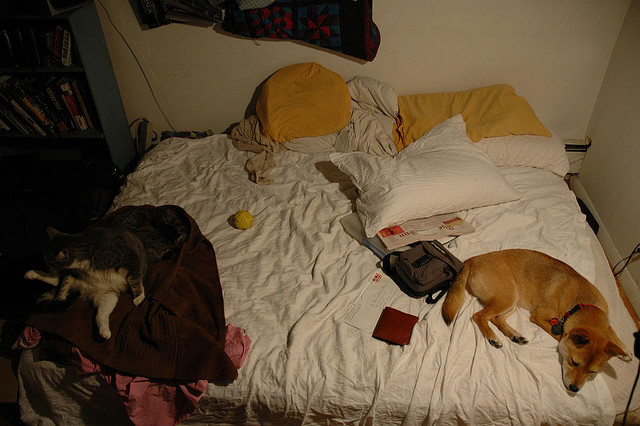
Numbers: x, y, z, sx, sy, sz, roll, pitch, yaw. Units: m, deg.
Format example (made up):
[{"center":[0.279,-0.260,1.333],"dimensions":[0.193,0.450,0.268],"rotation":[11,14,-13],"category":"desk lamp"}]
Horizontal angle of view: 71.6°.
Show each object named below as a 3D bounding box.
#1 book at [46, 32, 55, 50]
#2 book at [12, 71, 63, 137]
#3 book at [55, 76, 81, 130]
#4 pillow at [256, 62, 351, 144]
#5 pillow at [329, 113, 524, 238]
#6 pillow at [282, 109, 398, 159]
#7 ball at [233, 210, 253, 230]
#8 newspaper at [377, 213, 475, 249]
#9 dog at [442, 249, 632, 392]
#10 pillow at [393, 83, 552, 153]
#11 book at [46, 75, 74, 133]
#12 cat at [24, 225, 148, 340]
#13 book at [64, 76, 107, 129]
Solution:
[{"center":[-1.924,-1.243,3.168],"dimensions":[0.064,0.106,0.064],"rotation":[-3,42,-27],"category":"book"},{"center":[-2.126,-0.813,3.348],"dimensions":[0.373,0.376,0.108],"rotation":[-5,-6,-32],"category":"book"},{"center":[-1.917,-0.835,3.387],"dimensions":[0.138,0.262,0.068],"rotation":[-25,30,7],"category":"book"},{"center":[-0.098,-0.799,3.216],"dimensions":[0.570,0.156,0.597],"rotation":[8,69,5],"category":"pillow"},{"center":[0.651,-0.256,2.785],"dimensions":[1.004,0.315,0.605],"rotation":[-11,40,-15],"category":"pillow"},{"center":[0.125,-0.585,3.363],"dimensions":[1.034,0.321,0.709],"rotation":[-2,29,-4],"category":"pillow"},{"center":[-0.456,0.040,2.713],"dimensions":[0.093,0.116,0.099],"rotation":[-9,6,1],"category":"ball"},{"center":[0.610,0.086,2.562],"dimensions":[0.556,0.041,0.165],"rotation":[-11,40,-15],"category":"newspaper"},{"center":[1.099,0.485,2.241],"dimensions":[0.845,0.270,0.566],"rotation":[20,42,23],"category":"dog"},{"center":[1.033,-0.710,3.216],"dimensions":[0.901,0.109,0.563],"rotation":[-3,52,7],"category":"pillow"},{"center":[-1.988,-0.826,3.383],"dimensions":[0.067,0.285,0.274],"rotation":[-10,23,-1],"category":"book"},{"center":[-1.248,0.252,2.376],"dimensions":[0.640,0.400,0.853],"rotation":[8,4,-12],"category":"cat"},{"center":[-1.735,-0.861,3.452],"dimensions":[0.076,0.337,0.324],"rotation":[-19,41,-15],"category":"book"}]
